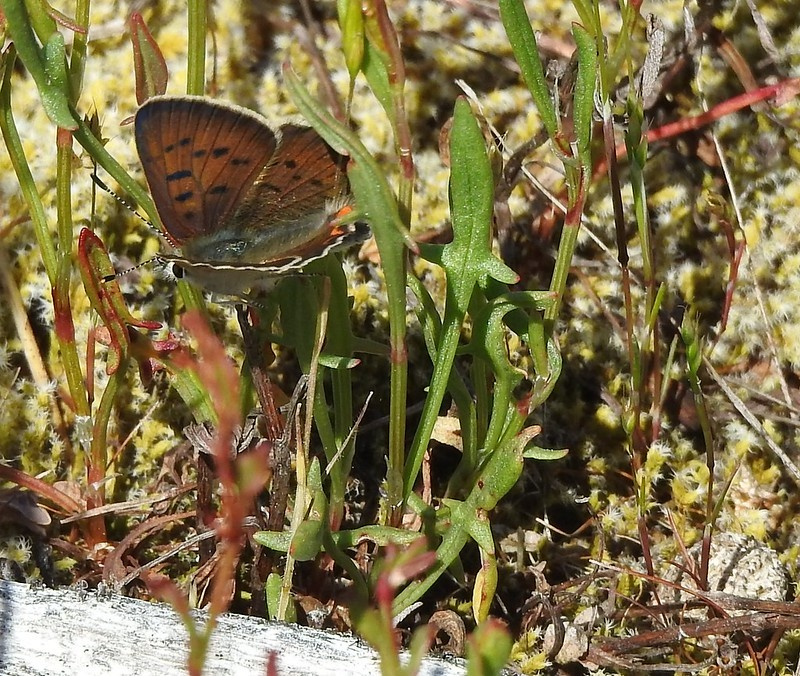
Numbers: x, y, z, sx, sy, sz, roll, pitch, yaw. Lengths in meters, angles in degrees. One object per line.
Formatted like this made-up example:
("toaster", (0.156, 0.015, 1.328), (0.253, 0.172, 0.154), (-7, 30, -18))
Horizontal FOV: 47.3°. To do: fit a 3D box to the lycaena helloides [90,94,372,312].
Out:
("lycaena helloides", (-0.292, -0.214, 1.724), (0.421, 0.422, 0.221), (-13, -40, 8))
